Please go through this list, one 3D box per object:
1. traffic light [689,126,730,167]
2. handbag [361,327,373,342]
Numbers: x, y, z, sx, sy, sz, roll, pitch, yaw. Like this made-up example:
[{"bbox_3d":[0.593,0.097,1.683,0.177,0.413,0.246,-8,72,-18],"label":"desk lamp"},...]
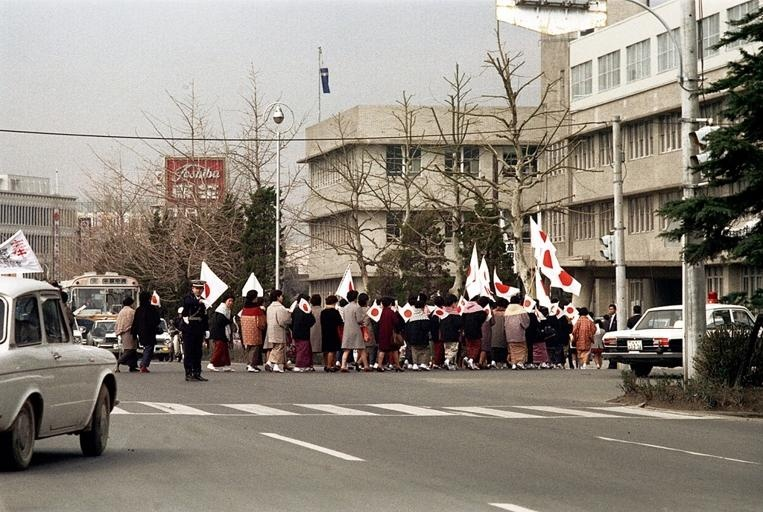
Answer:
[{"bbox_3d":[6.774,-2.369,23.673,0.881,1.181,0.847,-1,1,4],"label":"traffic light"},{"bbox_3d":[-0.461,2.302,32.695,0.186,0.185,0.415,-14,25,-4],"label":"handbag"}]
